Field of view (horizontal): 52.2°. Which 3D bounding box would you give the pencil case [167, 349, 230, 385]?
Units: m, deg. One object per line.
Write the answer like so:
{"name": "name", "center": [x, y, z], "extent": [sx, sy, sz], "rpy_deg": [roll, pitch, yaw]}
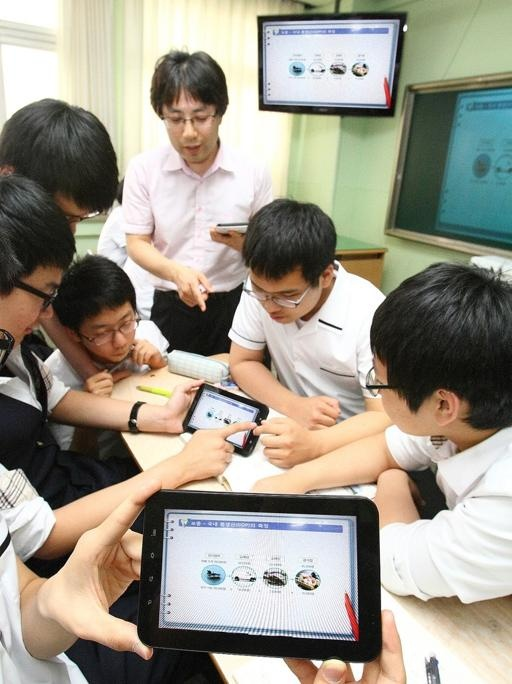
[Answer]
{"name": "pencil case", "center": [-0.178, 0.073, 1.636], "extent": [0.256, 0.087, 0.093], "rpy_deg": [12, 4, 20]}

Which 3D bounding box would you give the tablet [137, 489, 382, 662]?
{"name": "tablet", "center": [0.008, 0.290, 0.644], "extent": [0.225, 0.149, 0.023], "rpy_deg": [1, -5, 5]}

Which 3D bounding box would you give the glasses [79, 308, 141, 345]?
{"name": "glasses", "center": [-0.472, -0.077, 1.686], "extent": [0.176, 0.118, 0.157], "rpy_deg": [-6, 23, -21]}

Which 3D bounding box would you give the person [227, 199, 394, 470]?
{"name": "person", "center": [0.122, 0.026, 1.457], "extent": [0.417, 0.765, 0.412], "rpy_deg": [-2, 23, -15]}

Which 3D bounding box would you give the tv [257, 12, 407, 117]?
{"name": "tv", "center": [0.468, -1.842, 3.478], "extent": [0.976, 0.583, 0.251], "rpy_deg": [17, 24, 20]}

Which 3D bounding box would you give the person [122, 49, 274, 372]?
{"name": "person", "center": [-0.193, -0.567, 2.105], "extent": [0.568, 1.376, 0.541], "rpy_deg": [-7, 25, -25]}
